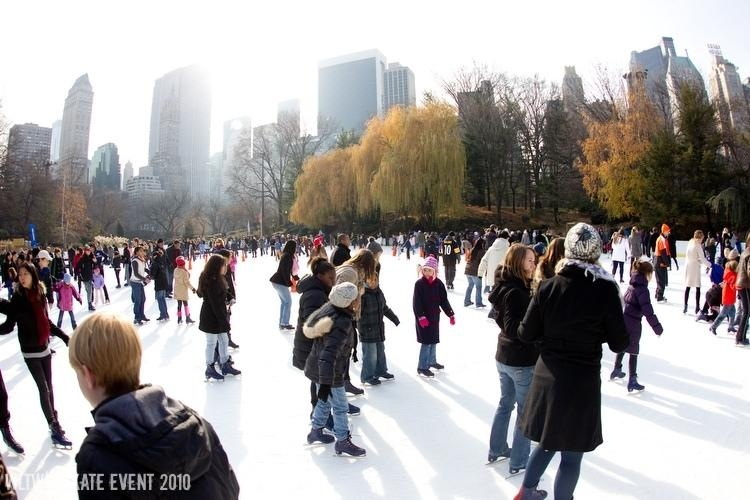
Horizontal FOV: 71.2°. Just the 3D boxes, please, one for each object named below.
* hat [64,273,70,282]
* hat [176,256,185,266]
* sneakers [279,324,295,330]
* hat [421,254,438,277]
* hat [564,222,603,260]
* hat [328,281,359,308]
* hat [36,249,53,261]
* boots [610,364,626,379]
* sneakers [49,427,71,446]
[{"bbox_3d":[-6.862,0.608,11.627,0.141,0.207,0.187,-3,-2,-38],"label":"hat"},{"bbox_3d":[-4.381,0.237,11.819,0.193,0.182,0.183,-9,7,-32],"label":"hat"},{"bbox_3d":[-1.996,1.731,11.842,0.357,0.186,0.133,4,2,-16],"label":"sneakers"},{"bbox_3d":[0.920,0.266,8.922,0.240,0.318,0.340,3,-2,4],"label":"hat"},{"bbox_3d":[2.441,-0.123,6.169,0.308,0.249,0.485,4,48,17],"label":"hat"},{"bbox_3d":[-0.438,0.581,7.024,0.372,0.272,0.255,-38,-46,24],"label":"hat"},{"bbox_3d":[-9.266,0.126,14.632,0.284,0.169,0.218,16,2,-10],"label":"hat"},{"bbox_3d":[4.048,2.031,8.873,0.308,0.269,0.128,4,22,-12],"label":"boots"},{"bbox_3d":[-4.420,2.614,7.367,0.282,0.302,0.184,9,16,37],"label":"sneakers"}]
